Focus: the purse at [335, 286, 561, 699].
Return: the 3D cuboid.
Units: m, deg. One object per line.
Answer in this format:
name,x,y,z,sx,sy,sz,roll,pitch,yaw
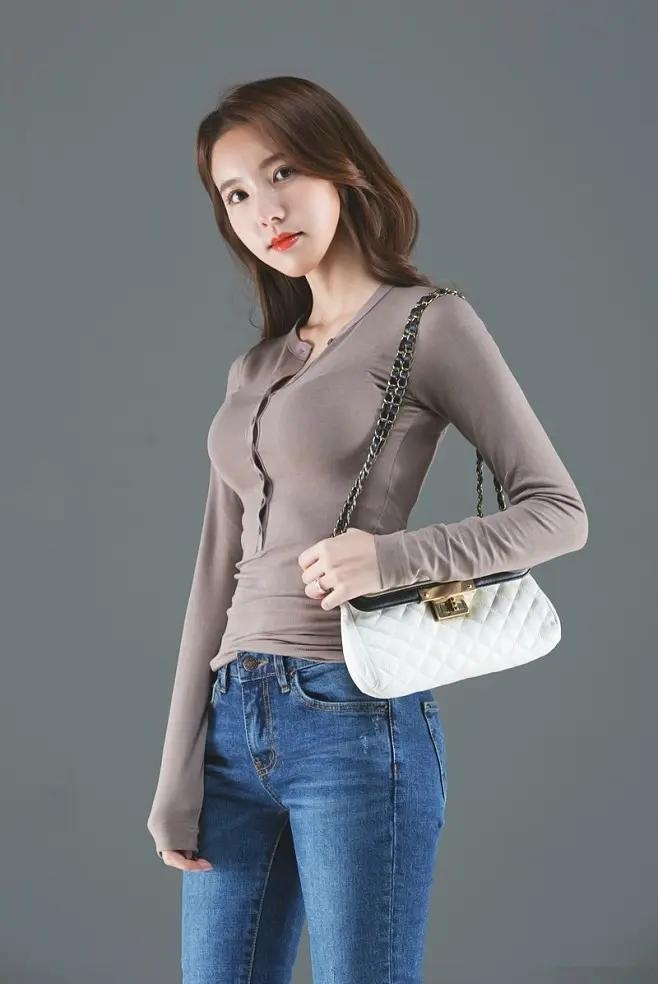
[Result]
purse,0.137,-0.008,1.380,0.305,0.556,0.159,-1,-3,-21
